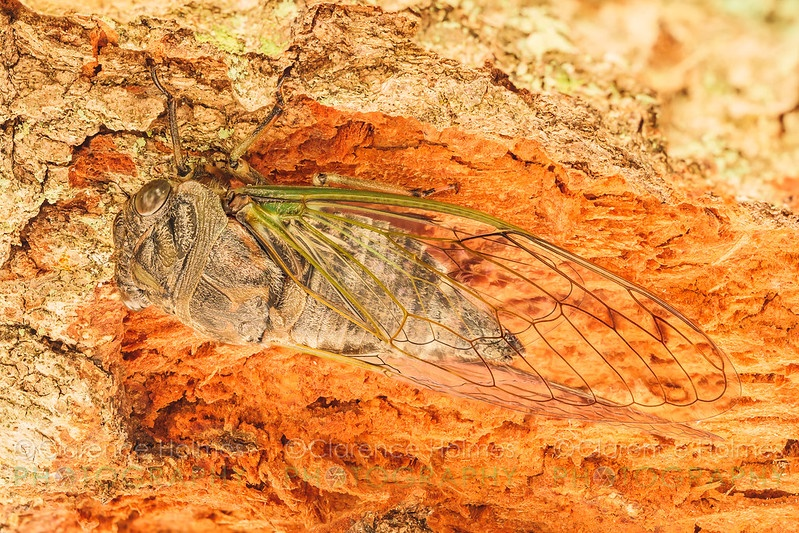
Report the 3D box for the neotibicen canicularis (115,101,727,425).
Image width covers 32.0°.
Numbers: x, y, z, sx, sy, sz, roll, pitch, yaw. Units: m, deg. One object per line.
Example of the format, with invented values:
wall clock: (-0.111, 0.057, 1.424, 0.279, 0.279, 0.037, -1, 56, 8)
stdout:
neotibicen canicularis: (0.067, 0.154, 5.200, 2.292, 0.600, 0.655, 17, 73, 0)
